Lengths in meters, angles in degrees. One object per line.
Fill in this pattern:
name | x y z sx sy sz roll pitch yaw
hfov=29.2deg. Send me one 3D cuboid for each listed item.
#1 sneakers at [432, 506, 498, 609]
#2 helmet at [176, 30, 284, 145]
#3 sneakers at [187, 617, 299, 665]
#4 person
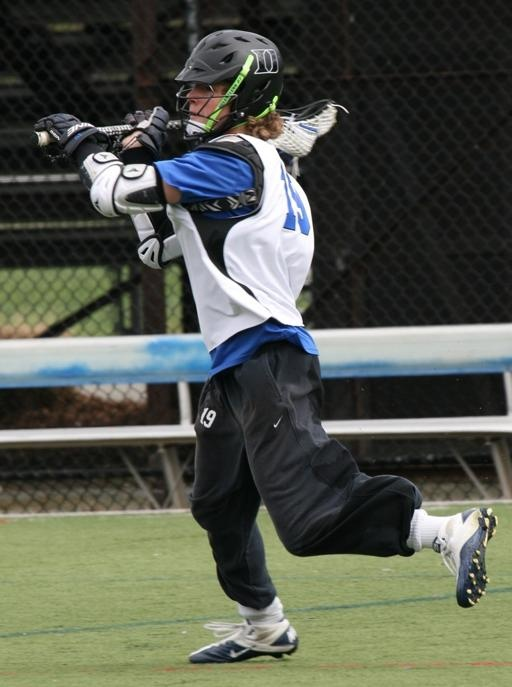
sneakers | 0.386 0.386 1.829 0.121 0.196 0.085 -14 -12 32
helmet | -0.068 -0.590 2.194 0.259 0.198 0.200 -14 24 -31
sneakers | -0.018 0.671 2.203 0.289 0.108 0.091 0 -14 6
person | -0.004 0.096 2.083 0.561 1.411 1.093 -13 28 -18
